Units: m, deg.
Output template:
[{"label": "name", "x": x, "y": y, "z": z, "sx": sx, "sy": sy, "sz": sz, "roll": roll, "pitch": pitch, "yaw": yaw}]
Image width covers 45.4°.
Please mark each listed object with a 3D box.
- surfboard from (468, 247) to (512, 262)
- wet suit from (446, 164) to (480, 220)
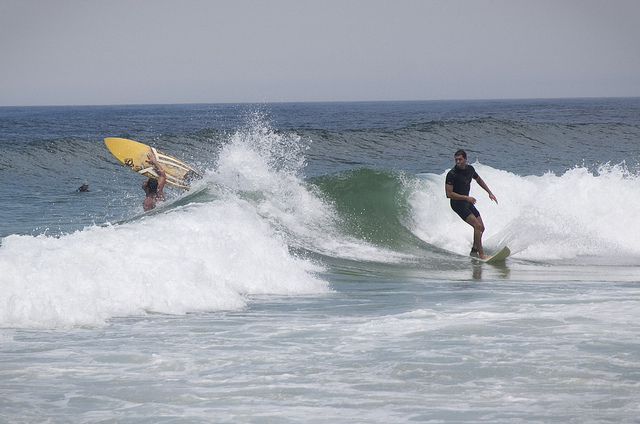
[{"label": "surfboard", "x": 2.766, "y": 0.647, "z": 12.399, "sx": 0.580, "sy": 0.304, "sz": 0.455, "roll": 5, "pitch": 10, "yaw": 15}, {"label": "wet suit", "x": 2.322, "y": -0.326, "z": 12.445, "sx": 0.596, "sy": 0.905, "sz": 0.408, "roll": 3, "pitch": 10, "yaw": -1}]
